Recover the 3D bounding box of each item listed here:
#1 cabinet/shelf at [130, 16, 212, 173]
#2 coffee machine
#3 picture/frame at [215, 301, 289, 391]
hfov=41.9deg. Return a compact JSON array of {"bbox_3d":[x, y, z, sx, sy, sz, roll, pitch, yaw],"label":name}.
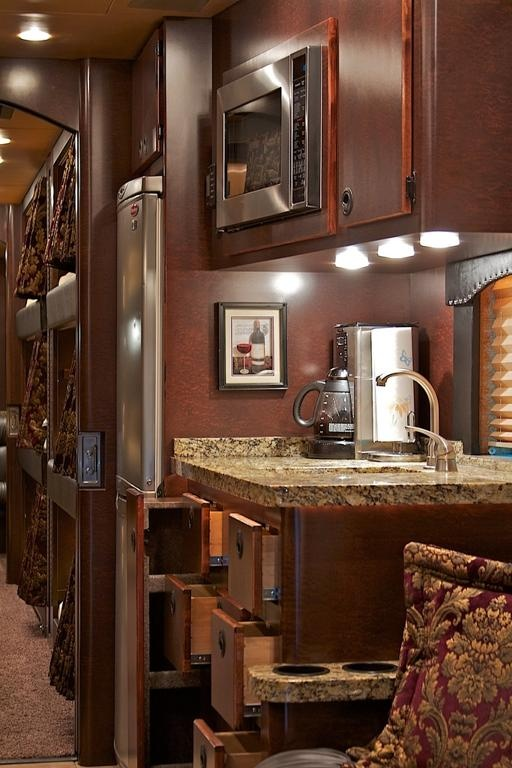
[{"bbox_3d":[-0.282,-1.006,2.304,0.163,0.506,0.487,0,-1,-14],"label":"cabinet/shelf"},{"bbox_3d":[0.278,0.032,2.186,0.447,0.582,0.319,0,-4,1],"label":"coffee machine"},{"bbox_3d":[-0.012,-0.127,2.318,0.229,0.343,0.021,0,-29,-4],"label":"picture/frame"}]
